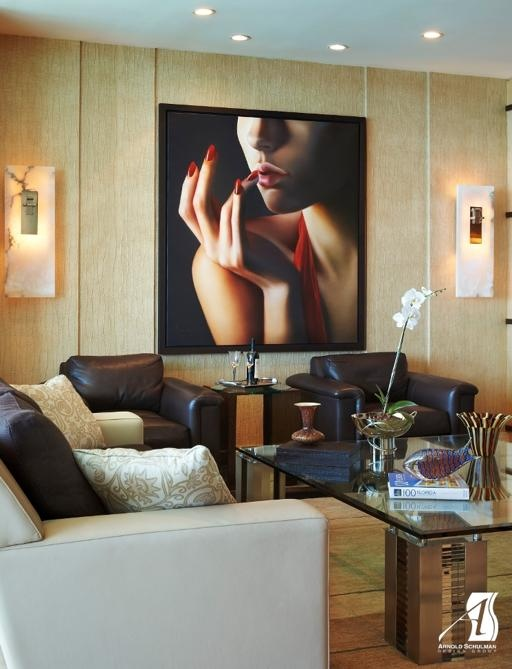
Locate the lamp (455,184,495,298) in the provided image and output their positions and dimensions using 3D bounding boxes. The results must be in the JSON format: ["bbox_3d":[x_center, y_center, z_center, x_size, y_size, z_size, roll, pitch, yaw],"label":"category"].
[{"bbox_3d":[1.863,-0.793,5.167,0.340,0.938,0.078,0,-2,-17],"label":"lamp"}]

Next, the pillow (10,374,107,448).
[{"bbox_3d":[-0.753,0.302,2.377,0.085,0.264,0.281,-32,-19,2],"label":"pillow"}]

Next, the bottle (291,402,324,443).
[{"bbox_3d":[0.213,0.378,2.526,0.147,0.162,0.131,1,0,-9],"label":"bottle"}]

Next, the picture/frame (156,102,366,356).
[{"bbox_3d":[-0.034,-0.826,4.673,2.120,2.363,0.097,0,-1,-21],"label":"picture/frame"}]

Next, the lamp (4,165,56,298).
[{"bbox_3d":[-1.563,-0.707,4.160,0.317,0.890,0.088,0,-2,-18],"label":"lamp"}]

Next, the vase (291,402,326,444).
[{"bbox_3d":[0.208,0.384,2.537,0.149,0.184,0.158,-2,-8,-13],"label":"vase"}]

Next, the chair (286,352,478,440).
[{"bbox_3d":[0.886,0.514,4.400,1.118,0.673,0.853,-1,2,-27],"label":"chair"}]
